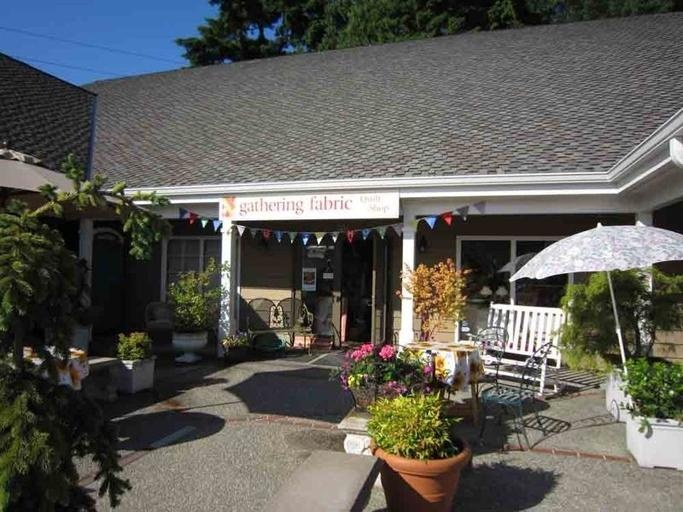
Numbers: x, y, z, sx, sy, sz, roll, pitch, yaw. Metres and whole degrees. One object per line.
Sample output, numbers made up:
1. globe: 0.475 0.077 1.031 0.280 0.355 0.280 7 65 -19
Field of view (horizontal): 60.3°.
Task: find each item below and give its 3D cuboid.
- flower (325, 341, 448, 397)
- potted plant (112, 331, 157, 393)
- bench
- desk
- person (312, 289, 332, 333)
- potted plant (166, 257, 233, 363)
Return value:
1. flower: 0.393 1.351 6.841 1.122 0.674 1.237 -1 1 -42
2. potted plant: -3.097 1.623 8.811 0.416 1.007 0.778 -2 -2 21
3. bench: 2.888 1.326 9.459 1.130 0.952 0.454 2 -2 38
4. desk: 1.381 1.561 8.123 1.279 0.664 1.210 3 -3 -36
5. person: -0.532 1.196 12.393 0.451 0.837 0.418 16 -10 -39
6. potted plant: -2.665 1.140 10.956 0.959 1.505 0.982 13 -14 -5
